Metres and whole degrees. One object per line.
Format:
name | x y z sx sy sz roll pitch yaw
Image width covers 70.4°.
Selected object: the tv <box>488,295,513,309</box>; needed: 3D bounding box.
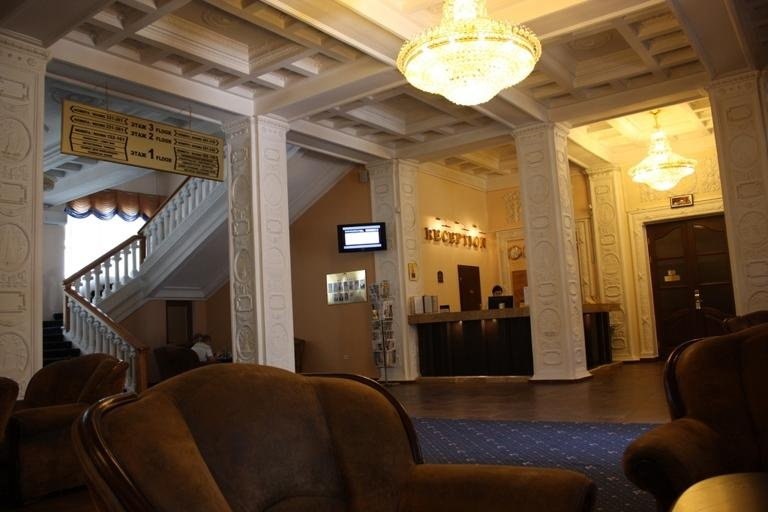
tv | 2.236 0.882 10.397 0.491 0.230 0.331 0 -8 8
